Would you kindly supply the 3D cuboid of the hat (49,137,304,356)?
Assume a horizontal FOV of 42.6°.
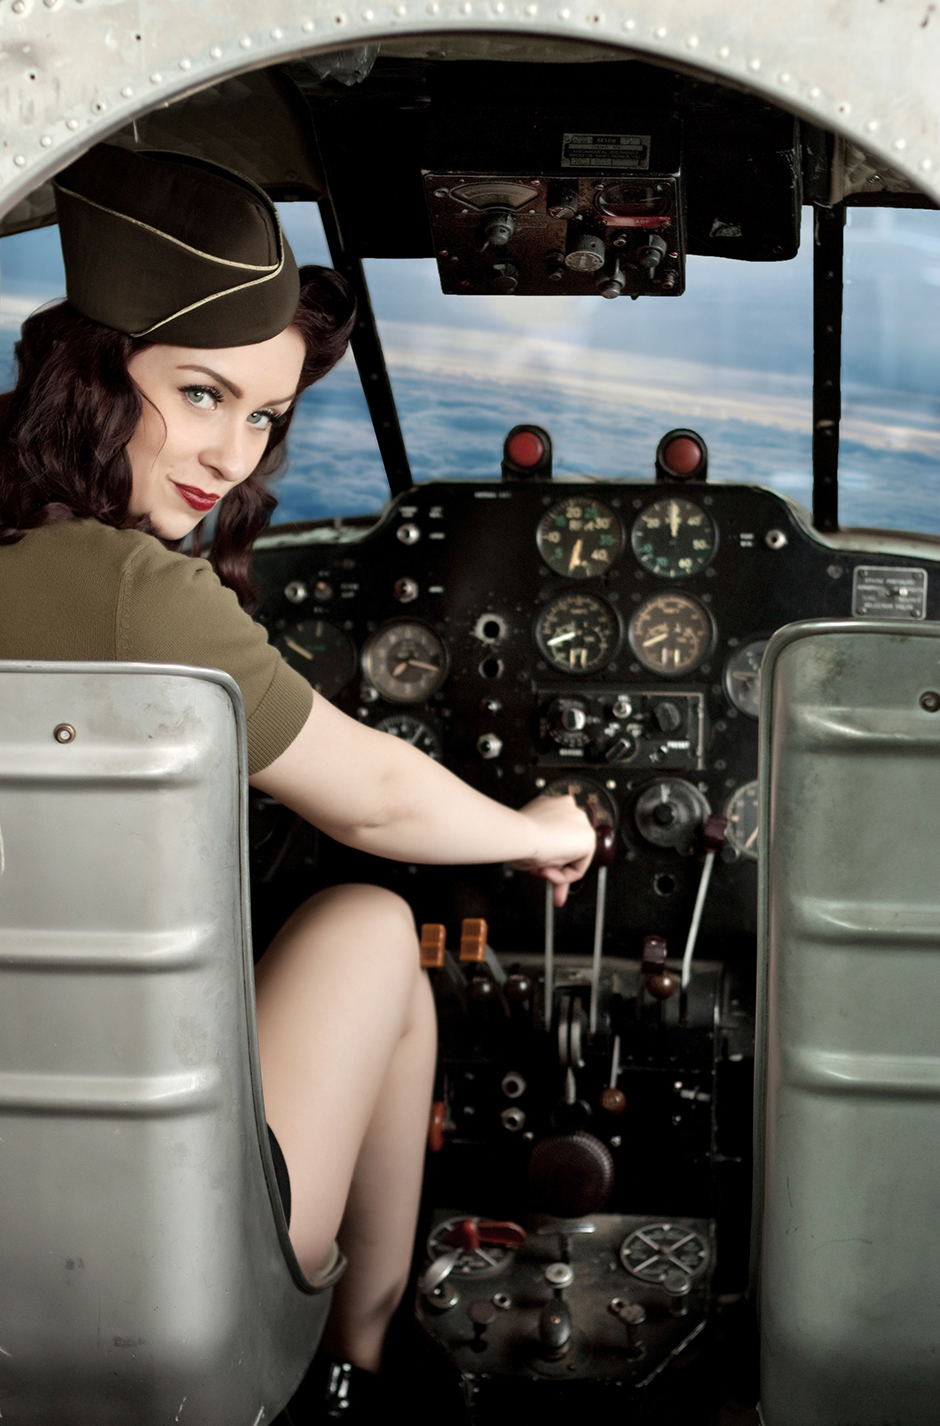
[{"bbox_3d":[-0.324,-0.507,1.380,0.271,0.166,0.208,8,37,-12],"label":"hat"}]
